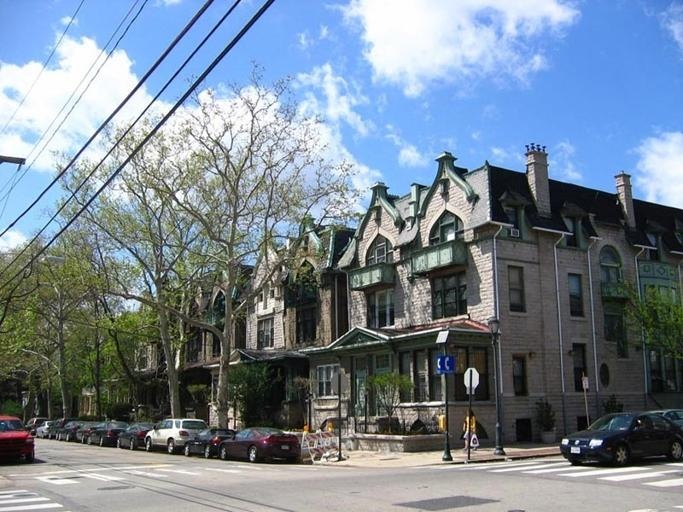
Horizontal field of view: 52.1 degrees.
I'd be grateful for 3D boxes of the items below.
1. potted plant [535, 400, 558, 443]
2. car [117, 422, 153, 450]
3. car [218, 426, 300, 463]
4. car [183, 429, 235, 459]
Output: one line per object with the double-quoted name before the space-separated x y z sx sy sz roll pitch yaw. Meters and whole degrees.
"potted plant" 10.799 8.607 36.795 1.041 2.273 0.800 0 -18 -1
"car" -11.969 10.458 40.819 1.299 1.141 3.235 7 -16 -28
"car" -3.683 8.277 31.140 1.610 1.055 2.957 15 -20 -39
"car" -6.390 9.063 33.829 1.242 1.055 2.890 12 -20 -34
